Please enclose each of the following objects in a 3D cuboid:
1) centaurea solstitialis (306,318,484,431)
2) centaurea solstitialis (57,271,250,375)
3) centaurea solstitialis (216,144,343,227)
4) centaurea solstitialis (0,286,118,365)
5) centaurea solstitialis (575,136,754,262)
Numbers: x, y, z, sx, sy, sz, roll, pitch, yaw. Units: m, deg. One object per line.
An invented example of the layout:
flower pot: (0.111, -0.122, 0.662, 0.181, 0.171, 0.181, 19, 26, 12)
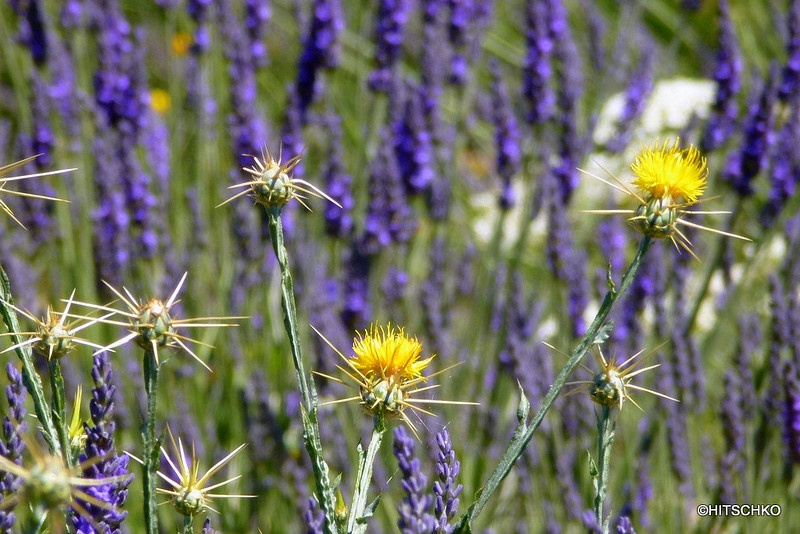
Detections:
centaurea solstitialis: (-0.019, 0.421, 4.077, 0.503, 0.355, 0.515, 4, 6, -5)
centaurea solstitialis: (-0.926, 0.241, 4.043, 0.595, 0.245, 0.680, 2, -4, 14)
centaurea solstitialis: (-0.468, -0.333, 4.120, 0.352, 0.207, 0.430, -1, 3, -36)
centaurea solstitialis: (-1.502, 0.268, 4.749, 0.210, 0.125, 0.244, 12, 50, 10)
centaurea solstitialis: (1.017, -0.297, 4.235, 0.503, 0.384, 0.509, 15, 10, 24)
